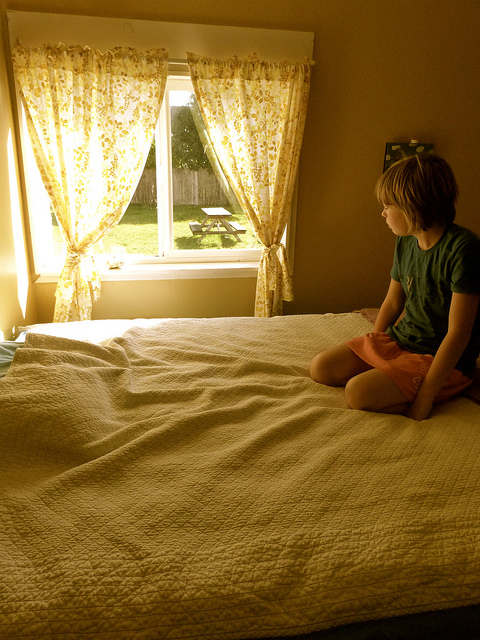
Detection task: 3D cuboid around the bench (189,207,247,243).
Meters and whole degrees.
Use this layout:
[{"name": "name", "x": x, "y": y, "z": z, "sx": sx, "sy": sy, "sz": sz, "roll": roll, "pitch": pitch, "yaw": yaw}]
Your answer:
[{"name": "bench", "x": -0.159, "y": -0.612, "z": 3.259, "sx": 0.260, "sy": 0.122, "sz": 0.228, "roll": -3, "pitch": 28, "yaw": -9}]
